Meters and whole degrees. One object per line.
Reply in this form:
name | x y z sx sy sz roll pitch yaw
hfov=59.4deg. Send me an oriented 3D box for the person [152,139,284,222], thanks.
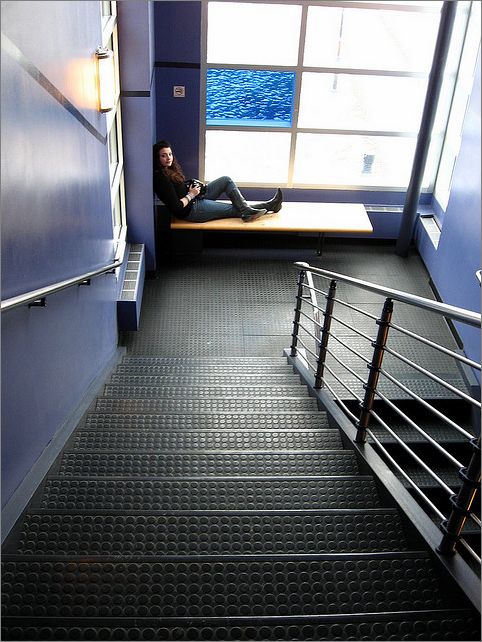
person | -0.354 -2.011 6.122 1.797 1.285 0.863 -3 15 8
